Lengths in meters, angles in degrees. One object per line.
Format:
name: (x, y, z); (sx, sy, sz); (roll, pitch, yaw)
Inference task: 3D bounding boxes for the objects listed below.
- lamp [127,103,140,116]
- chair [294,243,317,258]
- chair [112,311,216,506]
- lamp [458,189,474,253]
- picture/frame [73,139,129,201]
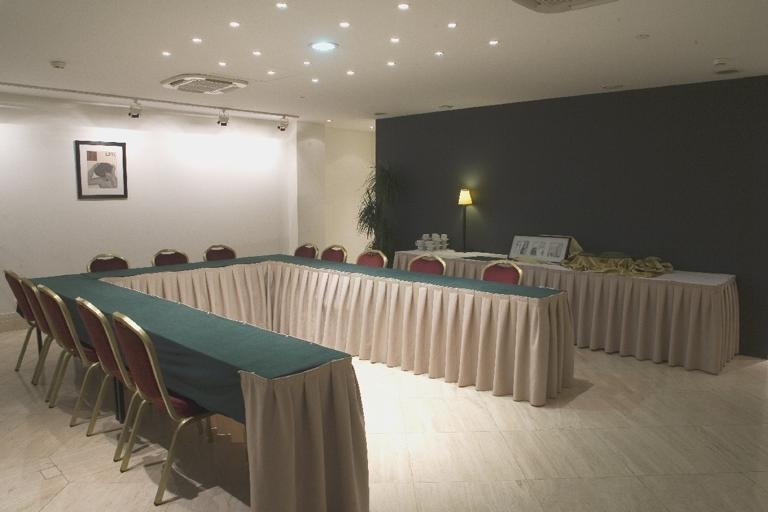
lamp: (-4.310, -2.519, 8.522); (0.213, 0.219, 0.213); (-6, 13, -36)
chair: (-1.220, -0.084, 7.578); (0.219, 0.375, 0.277); (2, 4, 15)
chair: (-1.800, 1.132, 3.980); (0.656, 1.447, 0.909); (-3, 7, -28)
lamp: (1.441, -0.661, 8.856); (0.255, 1.144, 0.342); (1, 6, 9)
picture/frame: (-4.867, -1.485, 8.402); (0.977, 1.224, 0.084); (-8, 14, -42)
